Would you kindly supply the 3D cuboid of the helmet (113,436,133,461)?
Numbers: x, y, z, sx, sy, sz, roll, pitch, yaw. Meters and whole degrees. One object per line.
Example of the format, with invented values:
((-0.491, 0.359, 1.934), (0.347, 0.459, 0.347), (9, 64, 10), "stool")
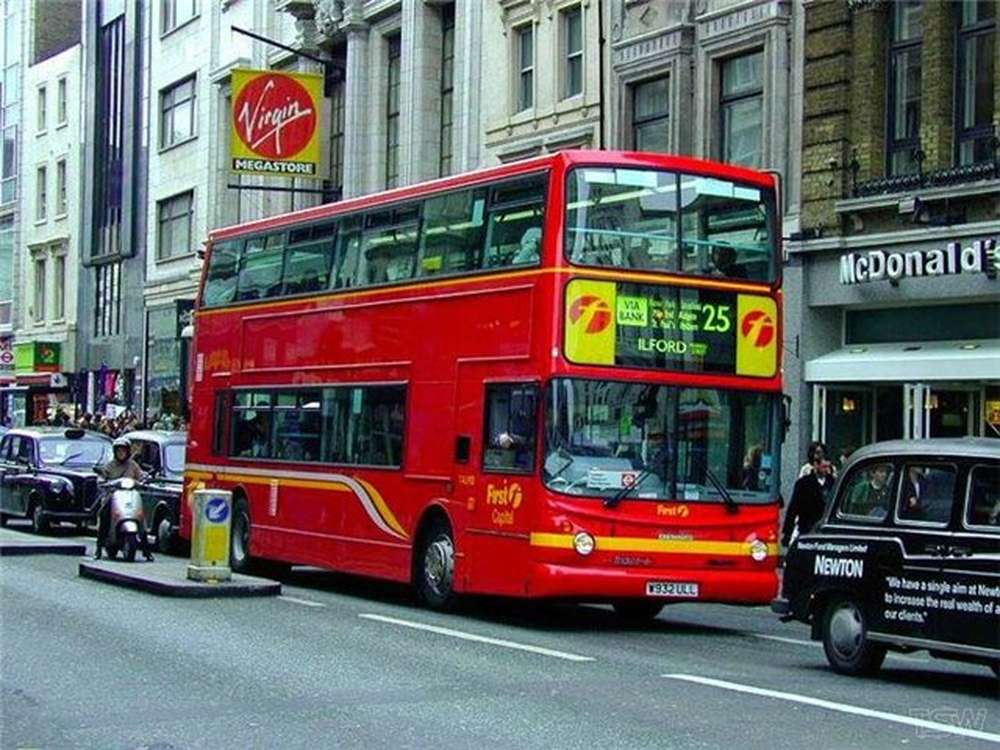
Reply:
((-6.724, 1.341, 20.433), (0.331, 0.485, 0.456), (-1, -7, -10), "helmet")

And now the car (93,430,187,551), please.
((-6.649, 2.311, 22.831), (1.478, 2.301, 4.135), (6, -5, -41), "car")

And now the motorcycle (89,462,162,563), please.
((-6.199, 2.247, 18.848), (0.851, 1.614, 1.546), (1, -3, -21), "motorcycle")

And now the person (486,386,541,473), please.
((0.232, 0.473, 13.409), (0.489, 0.852, 0.830), (-2, 12, -10), "person")
